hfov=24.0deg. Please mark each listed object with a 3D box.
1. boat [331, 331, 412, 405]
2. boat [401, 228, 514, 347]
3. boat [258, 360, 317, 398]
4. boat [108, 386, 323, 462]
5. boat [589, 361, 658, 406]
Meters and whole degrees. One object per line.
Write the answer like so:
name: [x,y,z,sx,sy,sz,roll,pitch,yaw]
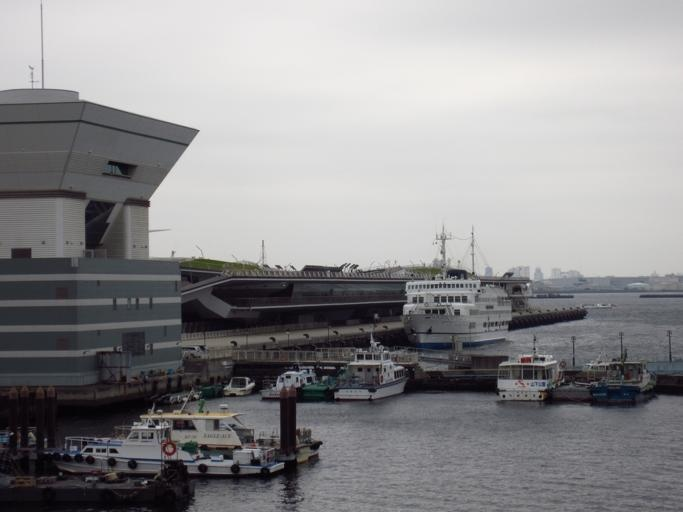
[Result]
boat: [2.087,10.165,135.070,3.141,3.580,8.368,3,6,21]
boat: [10.699,6.139,178.024,7.520,11.073,24.273,-2,-4,25]
boat: [-4.537,10.601,135.572,2.719,1.686,4.645,3,5,35]
boat: [-12.685,12.790,111.373,16.182,3.585,6.252,-2,9,6]
boat: [23.133,10.521,131.917,4.157,3.502,5.856,-5,-6,23]
